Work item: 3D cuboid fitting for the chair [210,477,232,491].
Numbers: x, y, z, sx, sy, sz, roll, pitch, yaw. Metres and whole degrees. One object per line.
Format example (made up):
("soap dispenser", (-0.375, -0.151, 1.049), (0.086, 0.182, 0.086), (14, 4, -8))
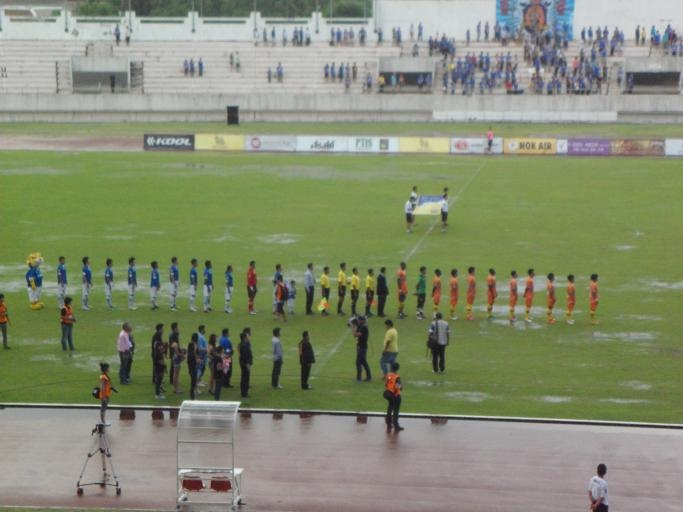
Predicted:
("chair", (-7.129, 13.574, 133.627), (1.225, 0.849, 0.498), (-1, 8, -3))
